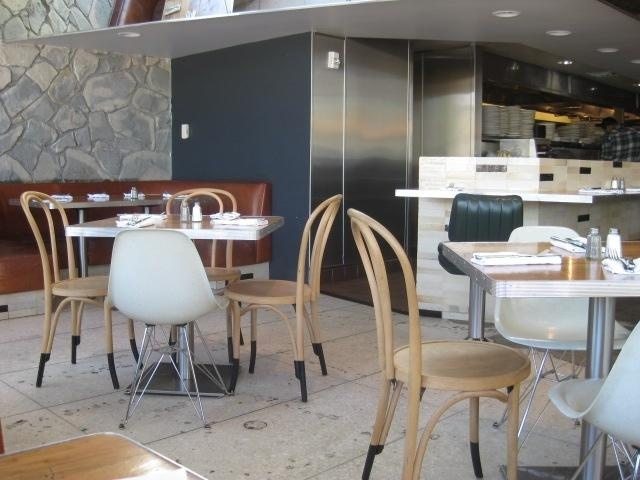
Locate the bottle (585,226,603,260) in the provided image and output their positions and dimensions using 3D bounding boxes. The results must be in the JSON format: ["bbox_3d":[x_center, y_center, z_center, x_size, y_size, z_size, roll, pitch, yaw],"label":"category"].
[{"bbox_3d":[1.059,0.012,1.970,0.056,0.111,0.149,5,9,27],"label":"bottle"}]
